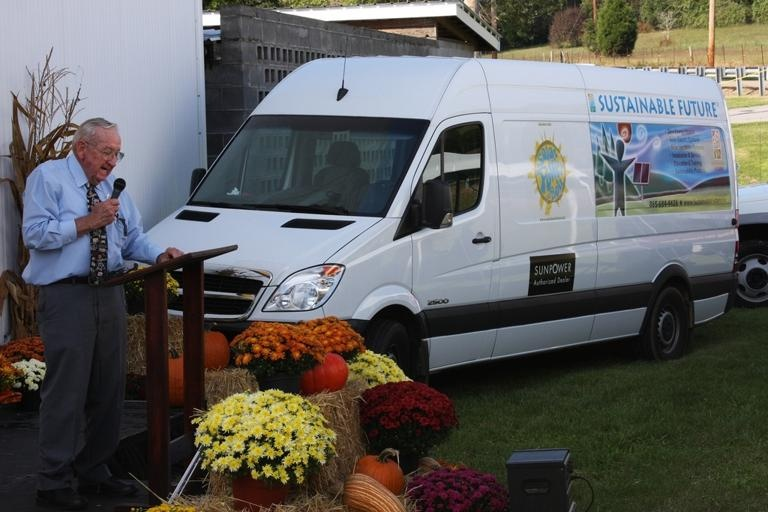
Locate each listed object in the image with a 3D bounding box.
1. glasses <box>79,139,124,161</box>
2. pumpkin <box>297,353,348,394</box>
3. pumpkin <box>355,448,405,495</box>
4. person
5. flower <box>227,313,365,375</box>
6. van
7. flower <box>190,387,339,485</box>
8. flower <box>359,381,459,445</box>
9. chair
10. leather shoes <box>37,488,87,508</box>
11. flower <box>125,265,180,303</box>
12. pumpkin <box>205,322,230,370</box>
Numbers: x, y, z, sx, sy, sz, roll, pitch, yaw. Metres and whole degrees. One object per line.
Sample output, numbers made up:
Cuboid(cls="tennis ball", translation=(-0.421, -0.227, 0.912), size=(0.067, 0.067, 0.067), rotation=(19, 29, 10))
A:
Cuboid(cls="glasses", translation=(-1.977, -0.733, 5.041), size=(0.181, 0.080, 0.165), rotation=(5, 13, 22))
Cuboid(cls="pumpkin", translation=(-0.489, 0.984, 5.949), size=(0.351, 0.332, 0.271), rotation=(7, 7, 33))
Cuboid(cls="pumpkin", translation=(-0.038, 1.578, 5.500), size=(0.310, 0.367, 0.343), rotation=(8, 0, -7))
Cuboid(cls="person", translation=(-2.094, 0.395, 5.112), size=(0.784, 2.701, 0.616), rotation=(-2, 7, -35))
Cuboid(cls="flower", translation=(-0.691, 0.750, 6.121), size=(0.529, 0.261, 0.716), rotation=(5, 7, 39))
Cuboid(cls="van", translation=(1.267, -0.869, 9.672), size=(7.771, 3.704, 3.270), rotation=(-1, 3, -42))
Cuboid(cls="flower", translation=(-0.811, 1.196, 4.827), size=(0.692, 0.425, 0.690), rotation=(7, 8, 26))
Cuboid(cls="flower", translation=(0.180, 1.247, 5.743), size=(0.592, 0.365, 0.492), rotation=(2, 7, -28))
Cuboid(cls="chair", translation=(-0.468, -0.851, 7.694), size=(0.651, 0.734, 0.419), rotation=(4, 6, 17))
Cuboid(cls="leather shoes", translation=(-2.199, 1.653, 4.966), size=(0.289, 0.147, 0.145), rotation=(1, 4, 7))
Cuboid(cls="flower", translation=(-1.791, 0.227, 5.652), size=(0.349, 0.204, 0.374), rotation=(10, 14, 14))
Cuboid(cls="pumpkin", translation=(-1.400, 0.817, 6.104), size=(0.206, 0.269, 0.443), rotation=(1, 7, -12))
